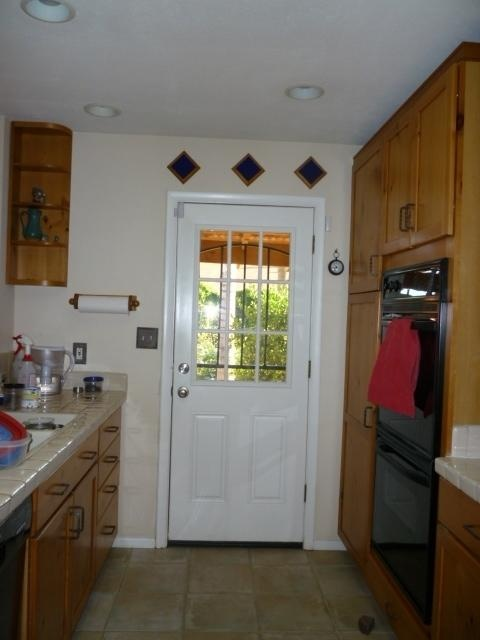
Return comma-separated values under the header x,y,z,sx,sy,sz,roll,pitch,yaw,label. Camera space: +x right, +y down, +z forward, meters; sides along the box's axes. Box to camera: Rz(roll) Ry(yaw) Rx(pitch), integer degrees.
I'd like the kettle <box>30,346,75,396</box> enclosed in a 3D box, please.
x,y,z,sx,sy,sz,roll,pitch,yaw,label
-0.955,0.256,2.656,0.226,0.239,0.175,4,-2,-26,kettle

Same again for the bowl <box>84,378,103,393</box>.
x,y,z,sx,sy,sz,roll,pitch,yaw,label
-0.755,0.328,2.710,0.104,0.075,0.123,2,2,-15,bowl

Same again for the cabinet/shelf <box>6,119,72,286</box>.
x,y,z,sx,sy,sz,roll,pitch,yaw,label
-1.014,-0.575,2.670,0.295,0.798,0.198,2,1,-16,cabinet/shelf

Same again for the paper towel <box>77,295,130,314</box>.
x,y,z,sx,sy,sz,roll,pitch,yaw,label
-0.686,-0.079,2.716,0.329,0.135,0.098,1,7,0,paper towel

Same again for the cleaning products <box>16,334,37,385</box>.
x,y,z,sx,sy,sz,roll,pitch,yaw,label
-1.055,0.198,2.597,0.089,0.214,0.349,2,2,-23,cleaning products

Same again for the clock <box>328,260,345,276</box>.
x,y,z,sx,sy,sz,roll,pitch,yaw,label
0.508,-0.269,2.772,0.075,0.079,0.018,-20,4,-15,clock
